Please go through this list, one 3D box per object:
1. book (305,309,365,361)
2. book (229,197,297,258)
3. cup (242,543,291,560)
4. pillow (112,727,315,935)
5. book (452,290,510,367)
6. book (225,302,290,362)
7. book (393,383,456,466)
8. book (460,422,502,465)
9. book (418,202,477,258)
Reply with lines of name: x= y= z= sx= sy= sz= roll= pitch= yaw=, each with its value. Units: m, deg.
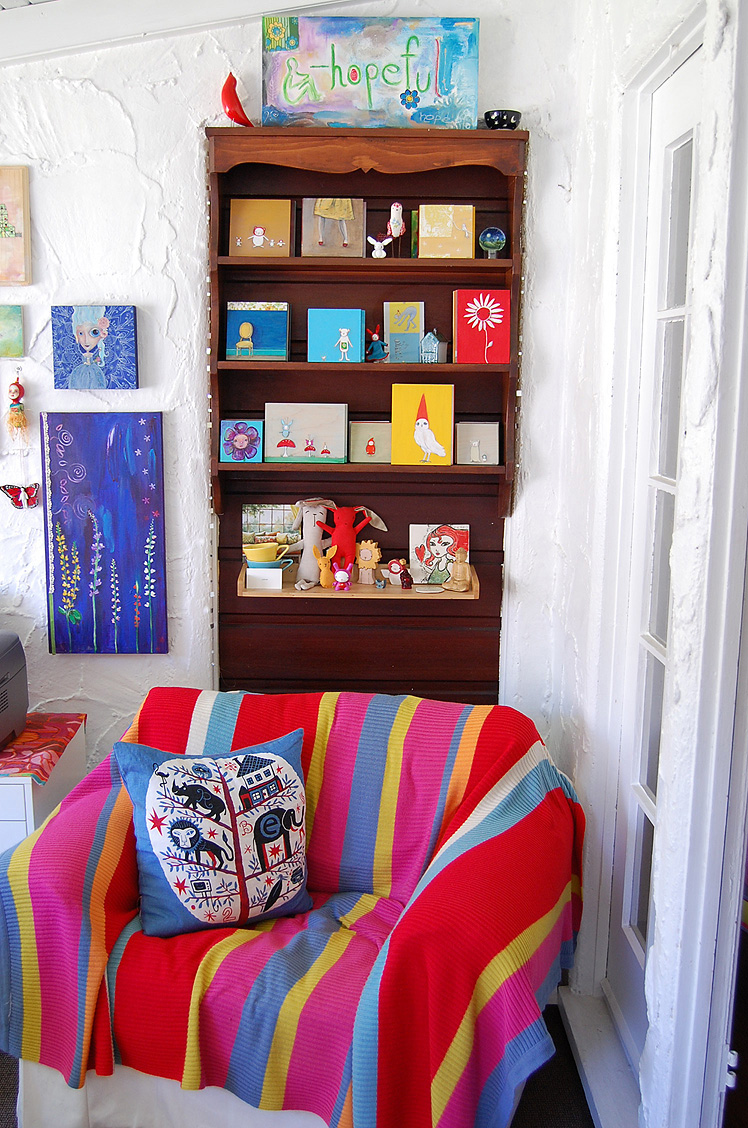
book: x=-0.099 y=-0.612 z=2.180 sx=0.119 sy=0.135 sz=0.044 roll=1 pitch=-3 yaw=-4
book: x=-0.297 y=-0.895 z=2.173 sx=0.163 sy=0.208 sz=0.025 roll=0 pitch=-5 yaw=4
cup: x=-0.302 y=-0.035 z=2.314 sx=0.082 sy=0.038 sz=0.062 roll=-2 pitch=3 yaw=-19
pillow: x=-0.287 y=0.502 z=1.484 sx=0.256 sy=0.295 sz=0.113 roll=-3 pitch=-37 yaw=-16
book: x=0.288 y=-0.627 z=2.166 sx=0.149 sy=0.200 sz=0.075 roll=0 pitch=9 yaw=6
book: x=-0.309 y=-0.621 z=2.189 sx=0.142 sy=0.149 sz=0.053 roll=0 pitch=3 yaw=-1
book: x=0.133 y=-0.378 z=2.226 sx=0.183 sy=0.292 sz=0.027 roll=0 pitch=-1 yaw=0
book: x=0.291 y=-0.331 z=2.261 sx=0.116 sy=0.140 sz=0.103 roll=-1 pitch=-3 yaw=3
book: x=0.188 y=-0.876 z=2.147 sx=0.135 sy=0.145 sz=0.050 roll=0 pitch=3 yaw=1
